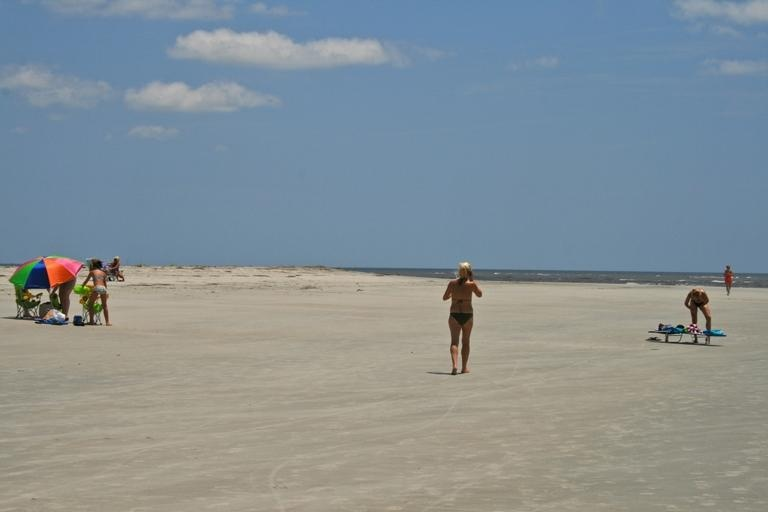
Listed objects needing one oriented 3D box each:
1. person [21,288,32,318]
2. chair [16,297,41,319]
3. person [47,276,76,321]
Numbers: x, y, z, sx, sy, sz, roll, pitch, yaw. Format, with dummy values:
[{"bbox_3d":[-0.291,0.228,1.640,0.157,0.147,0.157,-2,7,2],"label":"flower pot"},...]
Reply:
[{"bbox_3d":[-9.123,1.111,31.679,0.209,0.840,0.678,-2,14,-11],"label":"person"},{"bbox_3d":[-9.193,1.300,32.033,0.583,0.748,0.576,-2,-3,33],"label":"chair"},{"bbox_3d":[-8.193,1.034,31.388,0.450,0.321,1.173,15,36,-3],"label":"person"}]
